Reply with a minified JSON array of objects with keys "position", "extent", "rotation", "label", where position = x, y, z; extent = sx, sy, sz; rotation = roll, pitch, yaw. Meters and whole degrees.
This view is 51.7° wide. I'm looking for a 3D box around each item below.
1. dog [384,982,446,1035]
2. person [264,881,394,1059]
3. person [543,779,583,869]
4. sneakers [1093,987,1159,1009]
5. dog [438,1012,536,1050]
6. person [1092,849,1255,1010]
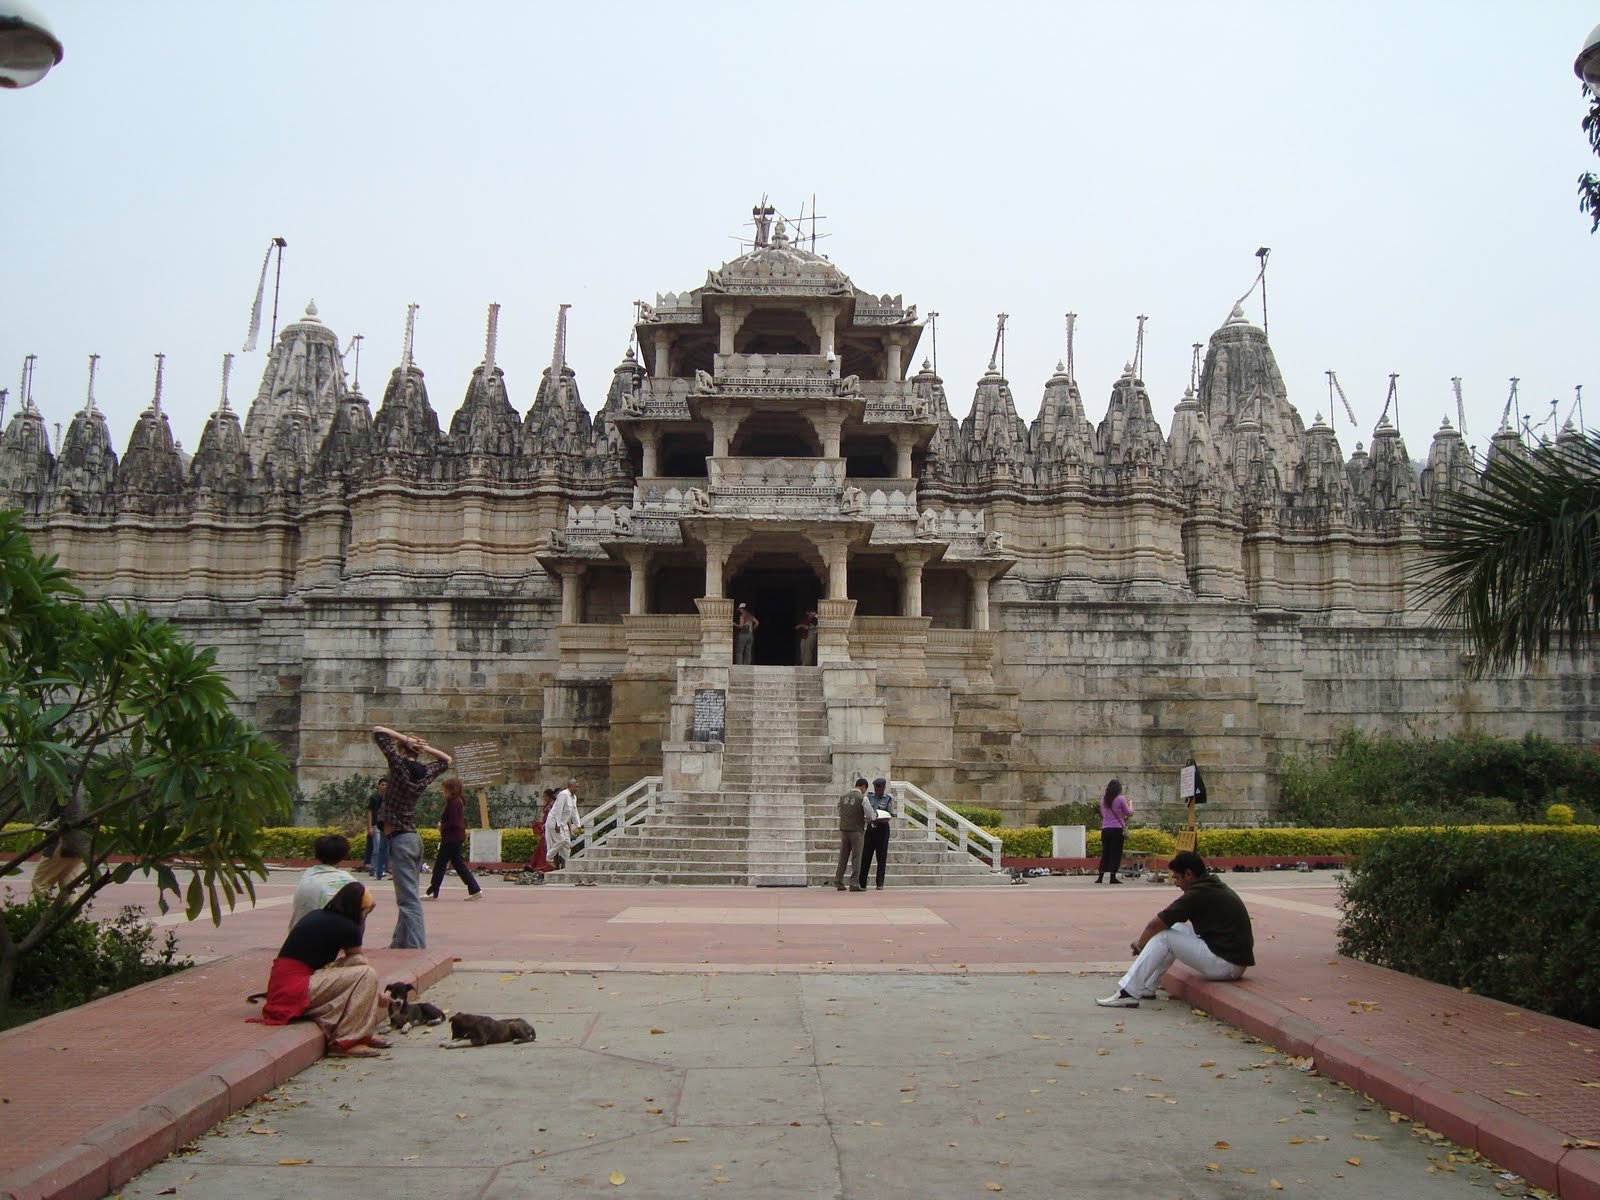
[{"position":[-2.768,2.946,11.899],"extent":[0.475,0.253,0.223],"rotation":[26,-46,-23],"label":"dog"},{"position":[-3.273,2.495,11.546],"extent":[0.848,1.094,0.819],"rotation":[6,-5,-12],"label":"person"},{"position":[-3.436,3.298,24.047],"extent":[0.528,1.110,0.991],"rotation":[2,-5,-8],"label":"person"},{"position":[2.575,3.033,12.765],"extent":[0.604,0.142,0.272],"rotation":[3,-6,-26],"label":"sneakers"},{"position":[-2.145,2.963,11.436],"extent":[0.605,0.218,0.212],"rotation":[3,-9,1],"label":"dog"},{"position":[2.994,2.605,13.160],"extent":[1.298,1.072,0.641],"rotation":[-3,-9,8],"label":"person"}]
